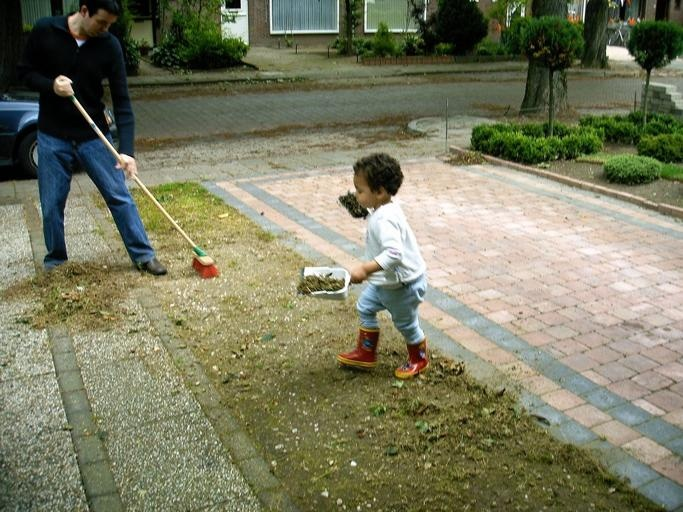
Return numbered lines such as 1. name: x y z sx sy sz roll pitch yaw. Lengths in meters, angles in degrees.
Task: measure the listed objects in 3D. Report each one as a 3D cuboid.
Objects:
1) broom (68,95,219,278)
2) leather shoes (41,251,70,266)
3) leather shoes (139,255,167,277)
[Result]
1. broom: -1.889 -0.898 6.105 1.017 2.205 0.816 -15 23 -39
2. leather shoes: -2.825 0.033 6.321 0.193 0.217 0.145 -3 3 0
3. leather shoes: -1.898 0.100 6.378 0.334 0.147 0.133 9 18 31
